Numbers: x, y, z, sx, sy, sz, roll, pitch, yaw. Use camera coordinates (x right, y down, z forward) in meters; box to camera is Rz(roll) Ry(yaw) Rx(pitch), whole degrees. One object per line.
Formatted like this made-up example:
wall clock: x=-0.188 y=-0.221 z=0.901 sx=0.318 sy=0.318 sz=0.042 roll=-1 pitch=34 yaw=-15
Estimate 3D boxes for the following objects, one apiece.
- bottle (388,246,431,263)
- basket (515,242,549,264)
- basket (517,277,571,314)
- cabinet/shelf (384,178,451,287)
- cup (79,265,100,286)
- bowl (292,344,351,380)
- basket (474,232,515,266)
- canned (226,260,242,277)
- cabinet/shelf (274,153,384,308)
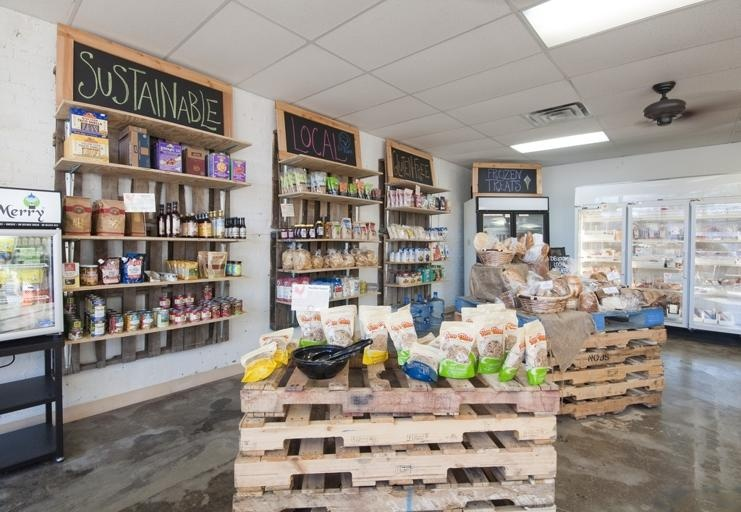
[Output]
bottle: x=0.589 y=-0.006 z=7.249 sx=0.822 sy=0.216 sz=0.273 roll=-1 pitch=2 yaw=-45
basket: x=1.752 y=-0.027 z=5.184 sx=0.308 sy=0.237 sz=0.170 roll=0 pitch=1 yaw=13
basket: x=1.656 y=0.361 z=4.552 sx=0.437 sy=0.152 sz=0.405 roll=-3 pitch=2 yaw=-30
cabinet/shelf: x=0.745 y=-0.317 z=7.402 sx=0.642 sy=1.507 sz=1.338 roll=0 pitch=1 yaw=32
cup: x=-2.561 y=0.174 z=4.336 sx=0.150 sy=0.181 sz=0.125 roll=-1 pitch=1 yaw=-27
bowl: x=-0.341 y=0.697 z=3.258 sx=0.392 sy=0.120 sz=0.371 roll=-5 pitch=1 yaw=0
basket: x=1.296 y=-0.068 z=5.214 sx=0.456 sy=0.248 sz=0.396 roll=-2 pitch=-5 yaw=38
canned: x=-1.495 y=0.138 z=5.167 sx=0.219 sy=0.151 sz=0.117 roll=3 pitch=4 yaw=36
cabinet/shelf: x=-0.468 y=-0.276 z=6.030 sx=0.650 sy=1.773 sz=1.741 roll=0 pitch=1 yaw=38
